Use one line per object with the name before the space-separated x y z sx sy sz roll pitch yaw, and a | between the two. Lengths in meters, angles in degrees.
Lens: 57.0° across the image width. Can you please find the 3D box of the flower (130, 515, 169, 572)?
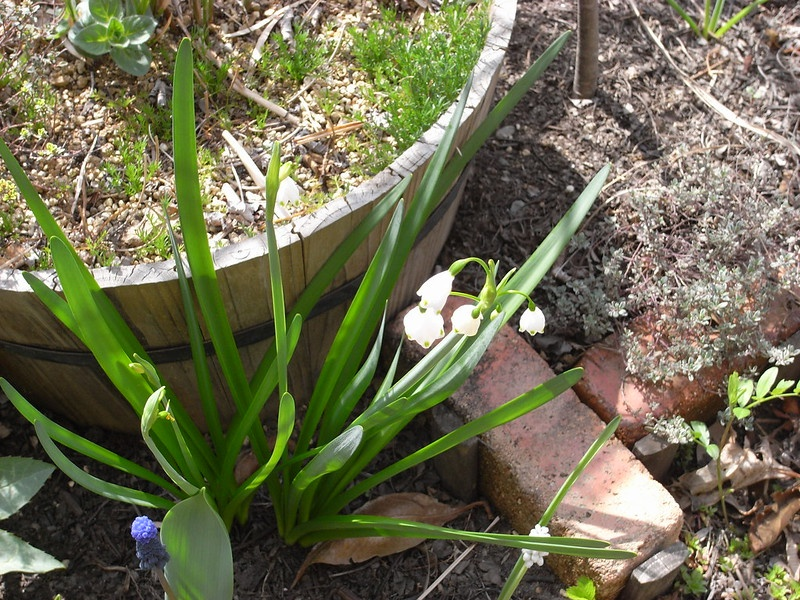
flower | -0.543 0.511 1.600 0.053 0.154 0.069 4 33 7
